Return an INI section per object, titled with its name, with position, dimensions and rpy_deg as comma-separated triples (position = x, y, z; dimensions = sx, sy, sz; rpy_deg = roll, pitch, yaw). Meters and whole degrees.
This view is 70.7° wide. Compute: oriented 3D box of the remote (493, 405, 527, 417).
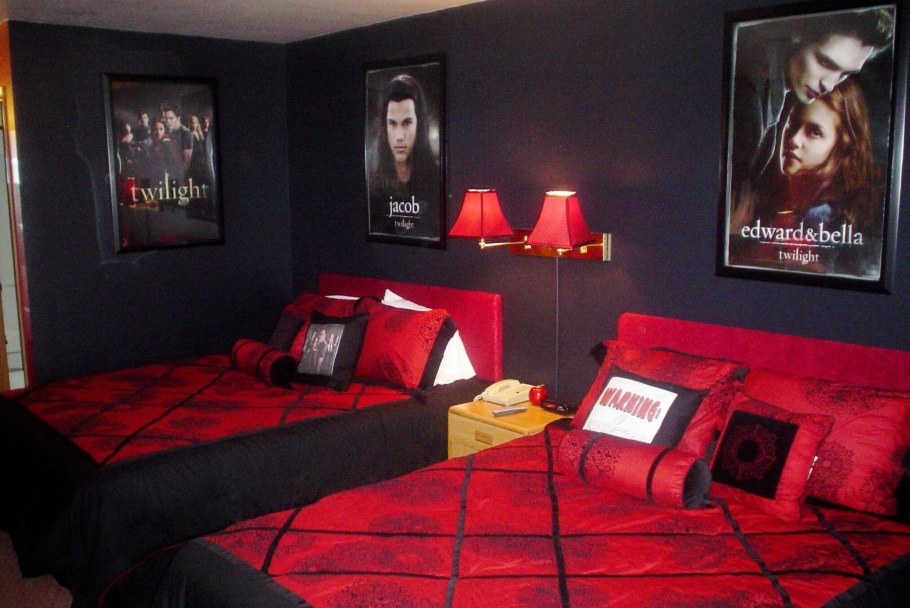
[remote]
position = 0.354, 0.690, 4.159
dimensions = 0.249, 0.052, 0.074
rpy_deg = -8, 4, -31

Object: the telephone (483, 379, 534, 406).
[telephone]
position = 0.365, 0.585, 4.289
dimensions = 0.197, 0.083, 0.205
rpy_deg = -6, 4, -38

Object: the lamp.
[lamp]
position = 0.487, -0.515, 4.215
dimensions = 1.019, 0.477, 0.426
rpy_deg = 15, 19, 39

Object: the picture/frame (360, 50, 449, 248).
[picture/frame]
position = -0.384, -1.200, 5.051
dimensions = 0.170, 1.379, 0.916
rpy_deg = -11, 20, -41
